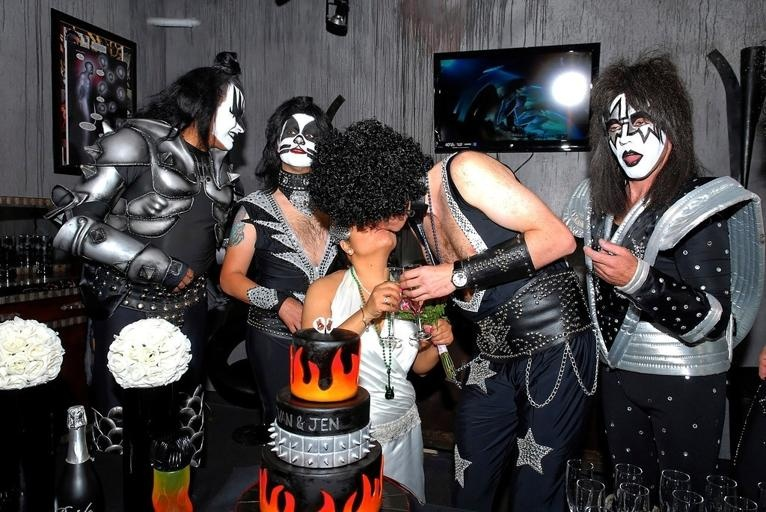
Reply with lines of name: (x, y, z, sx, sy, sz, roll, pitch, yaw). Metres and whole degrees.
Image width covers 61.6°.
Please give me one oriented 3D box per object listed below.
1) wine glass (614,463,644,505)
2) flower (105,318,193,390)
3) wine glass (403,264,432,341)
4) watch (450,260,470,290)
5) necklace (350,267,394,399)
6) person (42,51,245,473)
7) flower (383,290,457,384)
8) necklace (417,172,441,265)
wine glass: (1.039, 0.942, 2.729, 0.125, 0.146, 0.132, -2, -30, 21)
flower: (-0.926, 0.400, 2.559, 0.253, 0.283, 0.201, 6, 11, 23)
wine glass: (0.153, 0.201, 2.864, 0.095, 0.347, 0.212, 5, 11, 18)
watch: (0.330, 0.082, 2.755, 0.072, 0.120, 0.108, -1, 5, -1)
necklace: (-0.015, 0.356, 3.015, 0.161, 0.509, 0.057, -11, 2, -17)
person: (-1.226, 0.124, 3.504, 1.030, 2.504, 0.571, -4, 11, -29)
flower: (0.200, 0.404, 2.992, 0.284, 0.376, 0.267, -7, -6, -7)
necklace: (0.232, -0.171, 2.985, 0.020, 0.410, 0.095, -16, 17, -25)
